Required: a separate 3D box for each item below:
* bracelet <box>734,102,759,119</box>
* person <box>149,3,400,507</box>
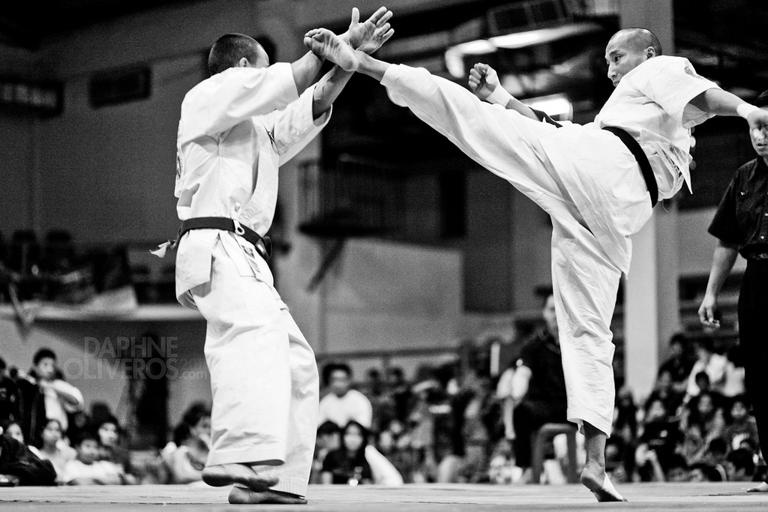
[{"bbox_3d":[2.713,-1.074,14.261,0.153,0.144,0.198,-5,-6,33],"label":"bracelet"},{"bbox_3d":[-0.954,0.082,14.306,1.131,3.477,0.486,-2,-6,-5],"label":"person"}]
